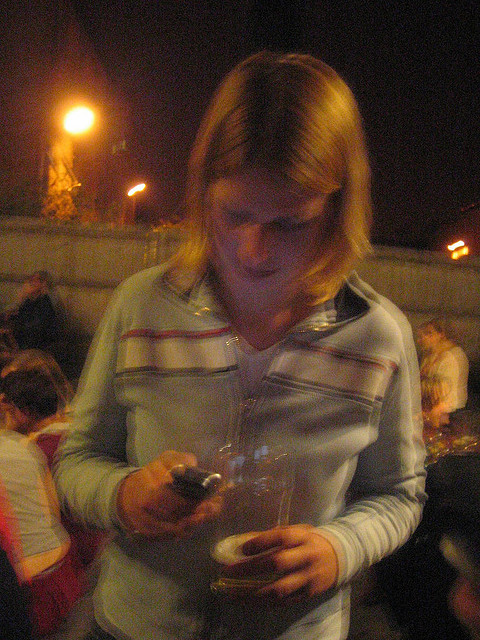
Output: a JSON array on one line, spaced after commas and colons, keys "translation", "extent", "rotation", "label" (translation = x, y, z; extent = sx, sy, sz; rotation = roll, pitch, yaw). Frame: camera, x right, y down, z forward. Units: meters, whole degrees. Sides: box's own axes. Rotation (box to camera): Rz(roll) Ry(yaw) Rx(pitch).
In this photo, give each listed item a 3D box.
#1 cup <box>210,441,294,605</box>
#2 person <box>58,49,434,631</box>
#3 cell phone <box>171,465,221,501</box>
[{"translation": [0.024, 0.381, 1.089], "extent": [0.164, 0.285, 0.167], "rotation": [-1, 2, 0], "label": "cup"}, {"translation": [0.018, 0.077, 1.108], "extent": [0.722, 1.120, 0.357], "rotation": [-1, 2, -12], "label": "person"}, {"translation": [-0.073, 0.261, 0.942], "extent": [0.039, 0.040, 0.073], "rotation": [-29, 13, -40], "label": "cell phone"}]
